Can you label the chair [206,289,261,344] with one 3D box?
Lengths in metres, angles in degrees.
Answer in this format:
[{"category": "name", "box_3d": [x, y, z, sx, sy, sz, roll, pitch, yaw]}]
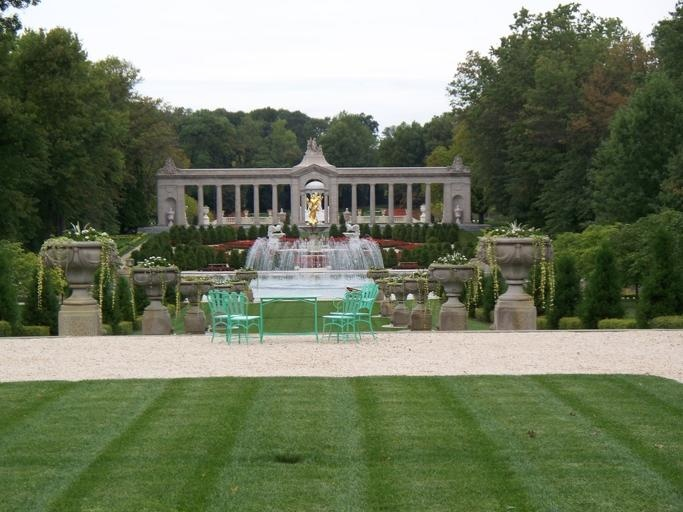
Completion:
[{"category": "chair", "box_3d": [-2.397, 1.376, 20.177, 0.527, 0.993, 1.150, -4, 4, -41]}]
